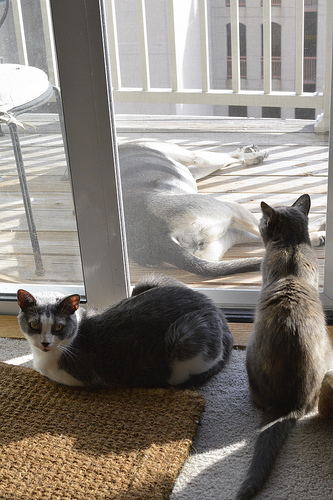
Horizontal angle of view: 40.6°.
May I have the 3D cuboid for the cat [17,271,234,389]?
[{"bbox_3d":[-0.112,0.268,1.362,0.579,0.232,0.328,-6,21,-28],"label":"cat"}]
